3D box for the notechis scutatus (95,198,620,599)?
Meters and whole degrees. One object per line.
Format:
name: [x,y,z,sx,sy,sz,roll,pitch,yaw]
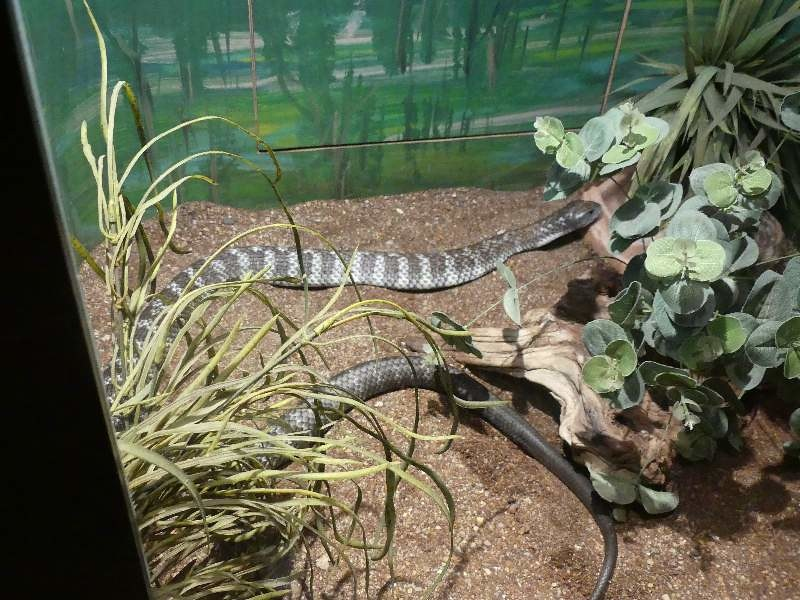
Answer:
notechis scutatus: [-0.154,0.471,3.366,2.452,0.258,2.030,-5,31,-7]
